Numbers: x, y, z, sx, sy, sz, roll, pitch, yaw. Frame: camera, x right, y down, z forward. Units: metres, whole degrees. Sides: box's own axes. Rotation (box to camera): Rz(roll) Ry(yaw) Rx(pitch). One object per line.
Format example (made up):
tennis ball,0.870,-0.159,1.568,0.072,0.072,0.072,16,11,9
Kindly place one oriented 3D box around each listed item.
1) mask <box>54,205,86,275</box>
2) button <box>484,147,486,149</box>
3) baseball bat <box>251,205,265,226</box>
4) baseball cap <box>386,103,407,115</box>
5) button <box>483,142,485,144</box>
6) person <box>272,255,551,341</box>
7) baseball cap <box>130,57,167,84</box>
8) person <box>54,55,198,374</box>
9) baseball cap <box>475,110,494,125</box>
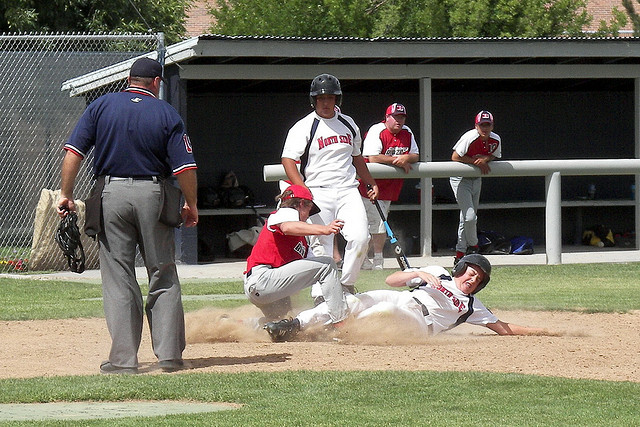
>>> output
mask,-2.921,0.320,13.798,0.356,0.850,0.363,11,22,16
button,2.570,-1.015,18.097,0.036,0.031,0.008,2,1,-3
baseball bat,-1.060,0.032,20.329,0.110,0.421,0.060,-17,29,40
baseball cap,1.165,-1.568,17.695,0.246,0.172,0.347,-1,0,-3
button,2.553,-1.086,18.075,0.036,0.033,0.033,-1,-3,-2
person,1.052,1.108,14.296,3.303,0.977,1.504,-5,13,-16
baseball cap,-1.963,-1.647,13.541,0.367,0.270,0.498,-6,-7,21
person,-2.112,0.022,13.297,1.415,3.610,0.312,-1,0,-3
baseball cap,2.586,-1.504,18.223,0.244,0.189,0.361,1,-2,0
